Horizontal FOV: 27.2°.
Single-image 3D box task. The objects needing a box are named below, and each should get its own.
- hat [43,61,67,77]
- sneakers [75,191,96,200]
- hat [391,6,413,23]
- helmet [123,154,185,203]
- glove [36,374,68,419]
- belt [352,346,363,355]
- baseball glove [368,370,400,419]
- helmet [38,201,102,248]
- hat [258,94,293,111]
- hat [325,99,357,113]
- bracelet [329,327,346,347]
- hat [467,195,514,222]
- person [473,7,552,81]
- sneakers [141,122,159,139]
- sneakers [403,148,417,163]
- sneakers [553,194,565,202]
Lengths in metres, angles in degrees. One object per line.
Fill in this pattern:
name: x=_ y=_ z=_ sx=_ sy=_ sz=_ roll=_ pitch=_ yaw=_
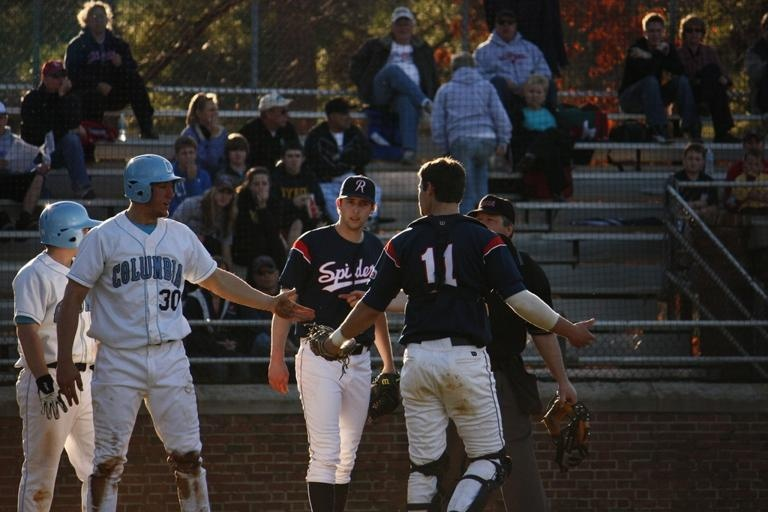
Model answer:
hat: x=-4.219 y=-2.389 z=20.353 sx=0.284 sy=0.199 sz=0.312 roll=-2 pitch=5 yaw=-13
sneakers: x=-3.741 y=-0.765 z=20.011 sx=0.249 sy=0.119 sz=0.098 roll=3 pitch=2 yaw=8
hat: x=0.245 y=-3.176 z=20.947 sx=0.183 sy=0.156 sz=0.279 roll=-3 pitch=-6 yaw=0
helmet: x=-2.480 y=-0.820 z=17.107 sx=0.535 sy=0.481 sz=0.441 roll=1 pitch=3 yaw=-1
glove: x=-3.606 y=1.522 z=17.208 sx=0.294 sy=0.481 sz=0.120 roll=-18 pitch=15 yaw=-8
belt: x=-0.290 y=1.018 z=17.436 sx=0.106 sy=0.042 sz=0.085 roll=9 pitch=-17 yaw=-40
baseball glove: x=0.005 y=1.493 z=17.858 sx=0.429 sy=0.506 sz=0.330 roll=-6 pitch=10 yaw=-43
helmet: x=-3.477 y=-0.322 z=17.595 sx=0.588 sy=0.486 sz=0.446 roll=6 pitch=-7 yaw=-18
hat: x=-1.389 y=-1.940 z=20.207 sx=0.318 sy=0.179 sz=0.224 roll=-9 pitch=15 yaw=-9
hat: x=-0.555 y=-1.904 z=20.345 sx=0.229 sy=0.174 sz=0.329 roll=-2 pitch=-1 yaw=1
bracelet: x=-0.490 y=0.846 z=16.966 sx=0.160 sy=0.177 sz=0.172 roll=-4 pitch=4 yaw=6
hat: x=1.217 y=-0.525 z=17.490 sx=0.382 sy=0.207 sz=0.290 roll=22 pitch=-1 yaw=-13
person: x=1.634 y=-2.605 z=21.015 sx=1.096 sy=1.186 sz=0.577 roll=-3 pitch=-1 yaw=-5
sneakers: x=-3.103 y=-1.647 z=21.092 sx=0.236 sy=0.259 sz=0.155 roll=2 pitch=-1 yaw=3
sneakers: x=0.334 y=-1.293 z=20.484 sx=0.145 sy=0.164 sz=0.161 roll=1 pitch=3 yaw=27
sneakers: x=2.229 y=-0.745 z=20.285 sx=0.154 sy=0.167 sz=0.089 roll=0 pitch=-7 yaw=10
